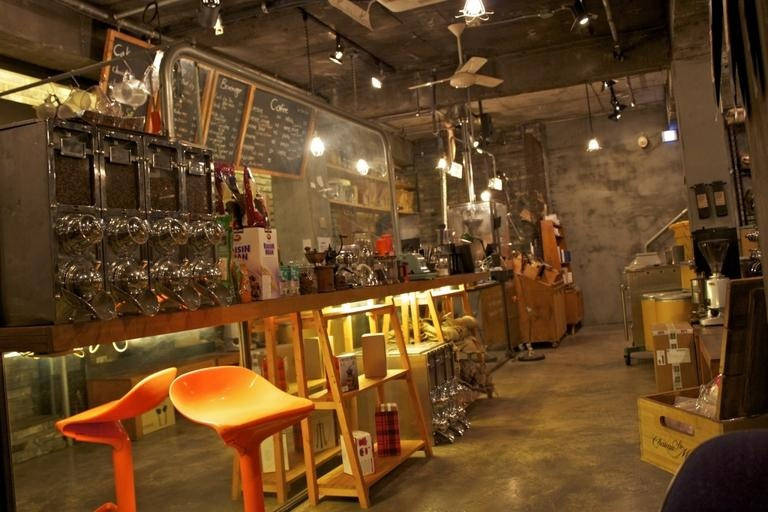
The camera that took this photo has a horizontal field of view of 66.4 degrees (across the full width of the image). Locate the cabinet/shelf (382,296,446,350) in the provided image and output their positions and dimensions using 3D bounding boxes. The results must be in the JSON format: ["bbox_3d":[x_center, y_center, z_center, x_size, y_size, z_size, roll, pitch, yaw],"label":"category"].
[{"bbox_3d":[0.279,0.603,6.134,0.560,0.638,0.694,-3,-7,-20],"label":"cabinet/shelf"}]

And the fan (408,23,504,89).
[{"bbox_3d":[0.954,-2.777,7.678,1.103,0.683,1.080,-4,-6,14],"label":"fan"}]

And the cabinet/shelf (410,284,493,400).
[{"bbox_3d":[0.728,0.954,6.474,0.636,1.211,1.337,-8,-5,17],"label":"cabinet/shelf"}]

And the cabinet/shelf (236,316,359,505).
[{"bbox_3d":[-0.600,1.112,4.089,0.510,1.442,1.514,-3,-1,10],"label":"cabinet/shelf"}]

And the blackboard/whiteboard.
[{"bbox_3d":[-1.586,-1.421,5.415,0.105,0.843,2.584,12,0,26],"label":"blackboard/whiteboard"}]

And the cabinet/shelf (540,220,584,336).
[{"bbox_3d":[3.665,0.339,12.103,0.665,2.492,2.006,-7,-1,18],"label":"cabinet/shelf"}]

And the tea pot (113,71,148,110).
[{"bbox_3d":[-1.471,-0.957,3.373,0.122,0.185,0.232,-7,-1,26],"label":"tea pot"}]

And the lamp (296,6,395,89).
[{"bbox_3d":[-0.456,-2.961,8.296,0.407,0.449,2.217,-7,-16,29],"label":"lamp"}]

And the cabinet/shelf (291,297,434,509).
[{"bbox_3d":[-0.191,1.239,4.722,0.617,1.471,1.542,-4,0,20],"label":"cabinet/shelf"}]
